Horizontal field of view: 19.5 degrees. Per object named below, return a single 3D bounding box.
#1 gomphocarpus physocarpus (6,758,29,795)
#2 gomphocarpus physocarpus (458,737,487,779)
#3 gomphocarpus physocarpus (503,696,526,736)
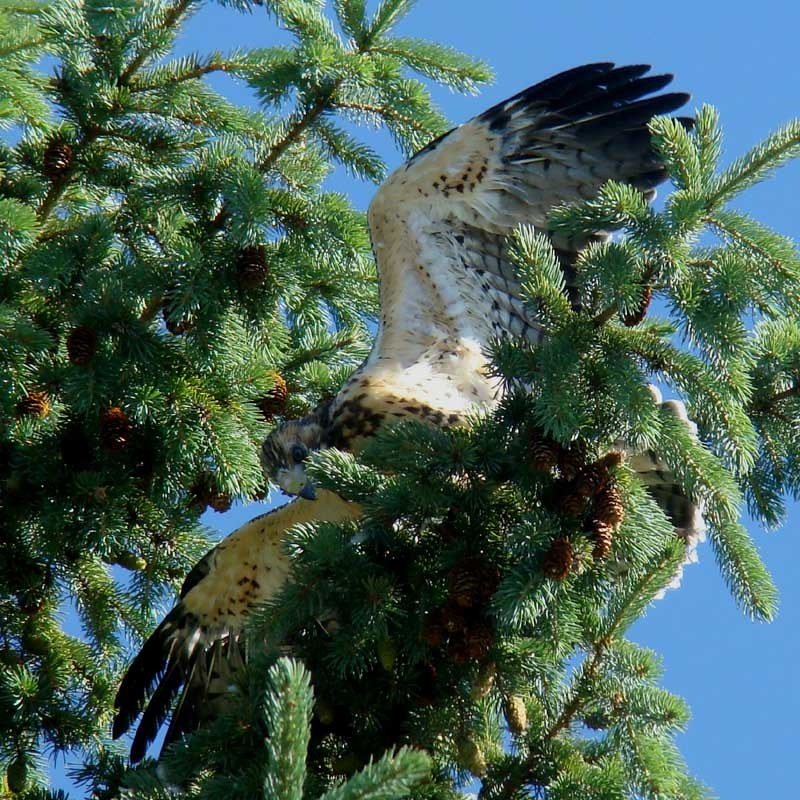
[{"bbox_3d":[-1.452,1.390,8.701,0.069,0.132,0.033,3,-15,-16],"label":"gomphocarpus physocarpus"},{"bbox_3d":[0.241,1.182,7.836,0.075,0.123,0.037,-10,-24,-40],"label":"gomphocarpus physocarpus"},{"bbox_3d":[0.388,1.053,7.862,0.065,0.122,0.045,0,-24,-9],"label":"gomphocarpus physocarpus"}]
